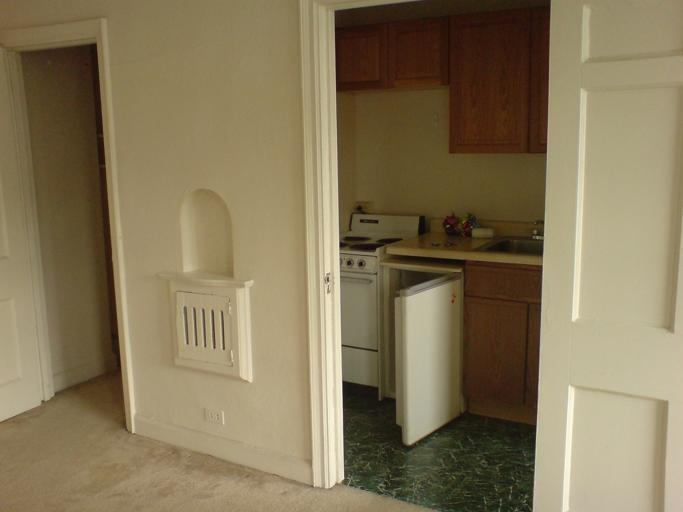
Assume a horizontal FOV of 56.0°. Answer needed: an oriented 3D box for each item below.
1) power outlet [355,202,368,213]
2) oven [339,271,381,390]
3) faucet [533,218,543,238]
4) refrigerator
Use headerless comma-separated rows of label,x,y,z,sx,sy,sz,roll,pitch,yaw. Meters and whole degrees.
power outlet,0.158,-0.395,5.105,0.089,0.090,0.022,1,-7,15
oven,0.113,0.503,4.547,0.281,0.773,0.333,5,13,18
faucet,1.344,-0.189,4.389,0.062,0.117,0.124,0,11,11
refrigerator,0.512,0.576,4.076,0.540,1.000,0.779,-1,11,3
